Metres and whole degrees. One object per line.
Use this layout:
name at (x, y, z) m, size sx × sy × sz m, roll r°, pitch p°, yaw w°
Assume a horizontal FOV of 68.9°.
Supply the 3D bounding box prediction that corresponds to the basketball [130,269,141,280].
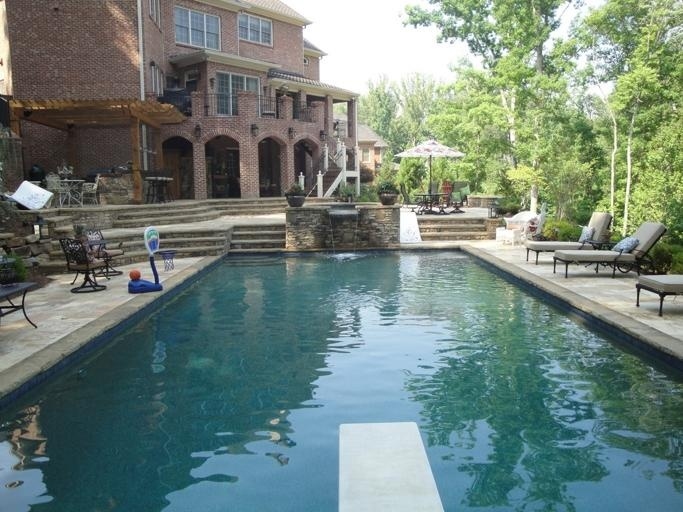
basketball at (-4.416, 0.411, 10.704) m, size 0.225 × 0.202 × 0.202 m, roll 12°, pitch 6°, yaw 17°

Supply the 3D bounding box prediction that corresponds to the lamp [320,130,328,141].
lamp at (-1.063, -7.254, 30.152) m, size 0.332 × 0.629 × 0.552 m, roll 3°, pitch 14°, yaw 17°

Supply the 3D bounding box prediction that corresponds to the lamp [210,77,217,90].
lamp at (-6.641, -8.898, 25.739) m, size 0.226 × 0.255 × 0.641 m, roll -9°, pitch 38°, yaw -25°

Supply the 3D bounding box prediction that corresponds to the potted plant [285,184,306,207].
potted plant at (-1.606, -2.114, 17.516) m, size 0.585 × 0.764 × 0.622 m, roll -3°, pitch 14°, yaw -8°

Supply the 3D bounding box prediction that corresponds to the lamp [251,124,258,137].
lamp at (-4.490, -6.542, 26.090) m, size 0.172 × 0.651 × 0.448 m, roll 6°, pitch 16°, yaw 26°

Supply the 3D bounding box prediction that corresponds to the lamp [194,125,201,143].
lamp at (-7.157, -6.183, 24.883) m, size 0.381 × 0.764 × 0.793 m, roll -5°, pitch 14°, yaw -15°

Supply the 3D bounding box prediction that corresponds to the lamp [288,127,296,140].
lamp at (-2.731, -6.812, 27.844) m, size 0.470 × 0.647 × 0.320 m, roll -9°, pitch 16°, yaw -30°

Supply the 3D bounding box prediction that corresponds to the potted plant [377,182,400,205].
potted plant at (1.789, -2.249, 18.088) m, size 0.944 × 0.736 × 0.837 m, roll -2°, pitch 7°, yaw -16°
